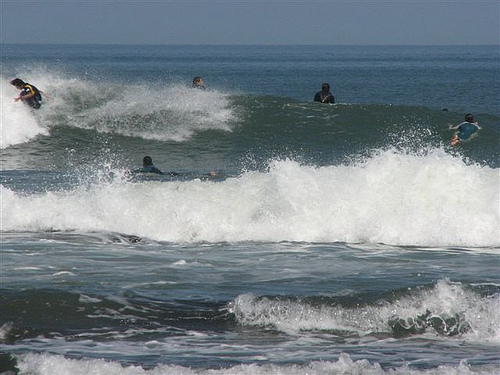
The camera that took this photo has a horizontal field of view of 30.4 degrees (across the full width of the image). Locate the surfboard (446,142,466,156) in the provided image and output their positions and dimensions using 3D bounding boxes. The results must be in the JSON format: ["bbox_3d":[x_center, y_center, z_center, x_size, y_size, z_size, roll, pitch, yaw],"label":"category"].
[{"bbox_3d":[6.554,-1.225,29.013,0.780,0.323,0.221,-31,88,-26],"label":"surfboard"}]

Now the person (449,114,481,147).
[{"bbox_3d":[6.898,-1.871,29.371,0.788,0.423,1.140,11,47,5],"label":"person"}]

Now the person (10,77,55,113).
[{"bbox_3d":[-7.536,-3.286,31.583,1.842,0.841,1.108,-18,36,-40],"label":"person"}]

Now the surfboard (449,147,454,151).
[{"bbox_3d":[6.536,-1.247,29.653,0.118,0.030,0.104,-7,36,8],"label":"surfboard"}]

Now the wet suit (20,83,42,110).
[{"bbox_3d":[-7.531,-3.090,31.411,0.718,1.041,0.525,17,74,-6],"label":"wet suit"}]

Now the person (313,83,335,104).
[{"bbox_3d":[2.706,-3.447,32.993,0.648,0.849,0.784,2,35,1],"label":"person"}]

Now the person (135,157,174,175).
[{"bbox_3d":[-2.749,-0.612,25.968,0.879,0.287,0.465,9,4,25],"label":"person"}]
